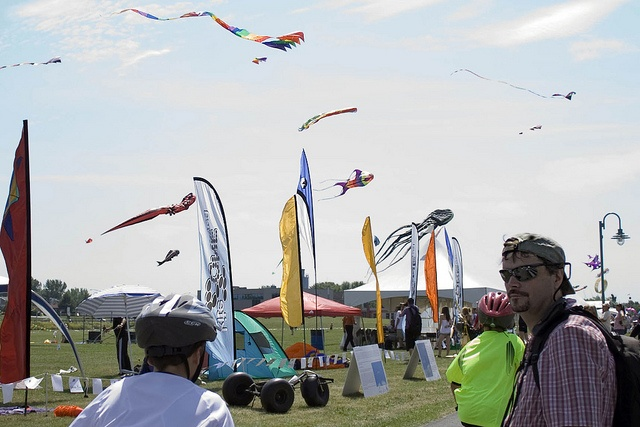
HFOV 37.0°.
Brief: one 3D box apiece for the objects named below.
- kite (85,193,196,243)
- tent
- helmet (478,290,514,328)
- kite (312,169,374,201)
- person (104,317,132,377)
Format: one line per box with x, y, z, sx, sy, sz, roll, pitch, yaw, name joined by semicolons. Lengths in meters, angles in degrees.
-4.343;-0.029;25.331;2.378;0.430;0.411;-20;33;-3;kite
-1.781;3.371;24.481;1.948;1.324;1.549;1;-7;4;tent
2.643;1.430;14.374;0.516;0.608;0.499;0;-1;2;helmet
0.646;-1.242;34.938;2.537;1.072;0.967;-16;20;-1;kite
-5.241;3.309;24.761;0.604;1.699;0.573;-8;4;-21;person
